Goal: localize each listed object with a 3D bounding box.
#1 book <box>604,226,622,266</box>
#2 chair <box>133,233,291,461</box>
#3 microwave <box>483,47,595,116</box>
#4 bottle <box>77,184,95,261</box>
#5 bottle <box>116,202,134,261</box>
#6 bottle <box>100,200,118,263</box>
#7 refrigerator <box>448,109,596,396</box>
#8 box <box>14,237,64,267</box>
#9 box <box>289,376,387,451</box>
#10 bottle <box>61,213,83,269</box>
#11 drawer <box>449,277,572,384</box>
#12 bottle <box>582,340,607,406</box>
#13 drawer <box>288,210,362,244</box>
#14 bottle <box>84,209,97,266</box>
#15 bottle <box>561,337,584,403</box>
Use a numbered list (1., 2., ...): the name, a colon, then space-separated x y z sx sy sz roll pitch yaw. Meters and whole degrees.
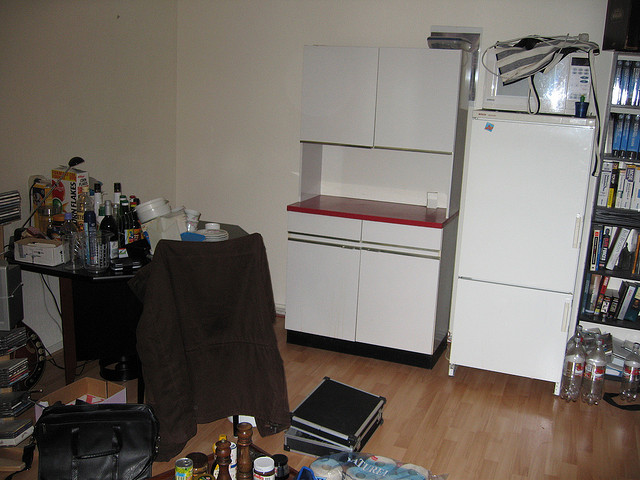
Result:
1. book: 2.233 0.040 3.952 0.044 0.216 0.202 11 3 22
2. chair: -0.559 0.602 2.985 0.823 1.229 0.413 -3 8 -3
3. microwave: 1.698 -1.148 4.185 0.792 0.566 0.479 9 -14 13
4. bottle: -1.495 -0.090 3.370 0.122 0.556 0.121 3 6 0
5. bottle: -1.267 -0.089 3.311 0.128 0.486 0.131 14 37 -10
6. bottle: -1.289 -0.051 3.158 0.103 0.350 0.224 -4 13 -23
7. refrigerator: 1.552 0.033 4.034 0.847 2.158 0.713 6 23 19
8. box: -1.736 0.074 3.179 0.304 0.143 0.140 7 14 23
9. box: 0.112 1.093 3.258 0.436 0.161 0.543 8 15 28
10. bottle: -1.547 0.002 3.205 0.114 0.286 0.344 -5 14 -26
11. drawer: 1.400 0.610 4.011 0.919 0.995 0.694 6 10 20
12. bottle: 1.961 0.952 3.691 0.119 0.496 0.122 1 13 0
13. drawer: -0.005 -0.108 4.510 0.655 0.313 0.953 7 0 0
14. bottle: -1.421 -0.032 3.213 0.074 0.302 0.339 -4 14 -23
15. bottle: 1.845 0.947 3.758 0.125 0.524 0.130 0 15 0
